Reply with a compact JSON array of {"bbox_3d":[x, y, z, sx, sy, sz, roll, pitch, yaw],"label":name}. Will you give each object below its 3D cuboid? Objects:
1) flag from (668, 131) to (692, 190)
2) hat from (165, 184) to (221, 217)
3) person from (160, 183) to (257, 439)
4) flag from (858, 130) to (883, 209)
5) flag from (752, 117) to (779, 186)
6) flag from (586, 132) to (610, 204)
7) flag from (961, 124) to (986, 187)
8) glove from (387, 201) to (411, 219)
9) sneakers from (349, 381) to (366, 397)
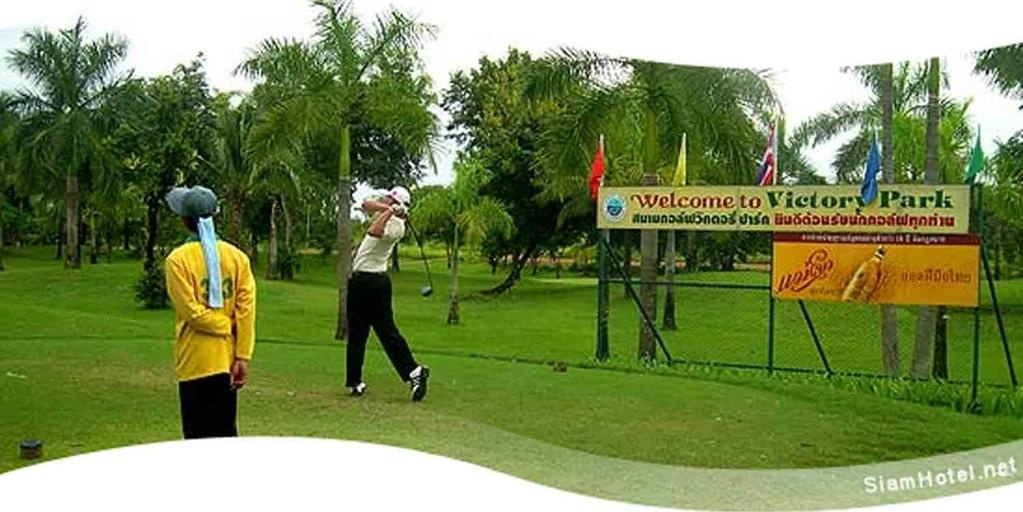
[{"bbox_3d":[2.726,-1.583,13.303,0.288,0.818,0.111,1,2,-8],"label":"flag"},{"bbox_3d":[-4.144,-0.751,10.890,0.564,0.270,0.728,-6,21,-41],"label":"hat"},{"bbox_3d":[-3.931,0.760,10.824,1.057,3.319,0.391,0,2,-17],"label":"person"},{"bbox_3d":[5.553,-1.313,12.741,0.238,1.028,0.383,2,3,28],"label":"flag"},{"bbox_3d":[4.141,-1.689,13.349,0.307,1.029,0.314,1,2,12],"label":"flag"},{"bbox_3d":[1.374,-1.378,13.043,0.296,1.011,0.164,1,2,-8],"label":"flag"},{"bbox_3d":[7.338,-1.608,13.107,0.279,0.925,0.663,3,3,42],"label":"flag"},{"bbox_3d":[-1.684,-0.694,12.483,0.221,0.142,0.294,7,-3,-41],"label":"glove"},{"bbox_3d":[-2.352,2.066,12.713,0.188,0.145,0.285,-4,-3,-5],"label":"sneakers"}]
